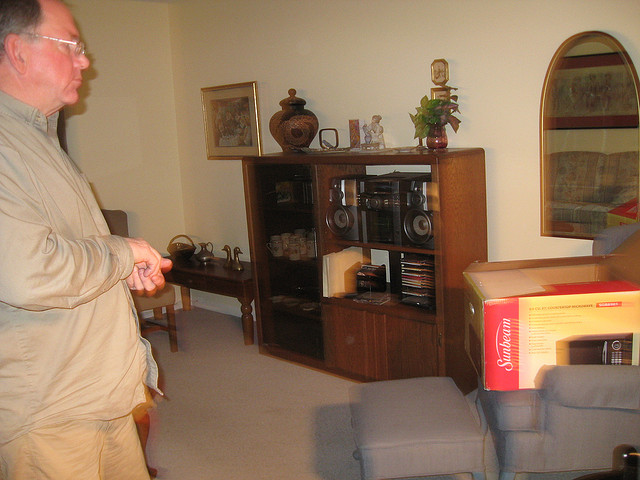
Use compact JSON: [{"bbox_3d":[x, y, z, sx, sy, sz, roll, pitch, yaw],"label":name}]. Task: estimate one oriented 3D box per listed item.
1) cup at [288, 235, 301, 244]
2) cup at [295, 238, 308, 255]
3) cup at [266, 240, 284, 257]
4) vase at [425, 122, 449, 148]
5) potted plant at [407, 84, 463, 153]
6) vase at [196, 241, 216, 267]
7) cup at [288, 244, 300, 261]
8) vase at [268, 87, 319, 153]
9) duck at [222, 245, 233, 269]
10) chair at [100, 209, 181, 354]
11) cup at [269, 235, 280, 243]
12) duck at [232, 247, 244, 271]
[{"bbox_3d":[-0.197,-0.008,3.820,0.065,0.045,0.064,1,1,0],"label":"cup"},{"bbox_3d":[-0.129,0.044,3.835,0.107,0.111,0.105,-1,13,0],"label":"cup"},{"bbox_3d":[-0.336,0.057,3.911,0.143,0.130,0.085,-1,13,5],"label":"cup"},{"bbox_3d":[0.755,-0.662,3.179,0.154,0.158,0.150,-17,21,-37],"label":"vase"},{"bbox_3d":[0.720,-0.750,3.148,0.355,0.367,0.337,1,18,35],"label":"potted plant"},{"bbox_3d":[-1.045,0.137,4.791,0.195,0.247,0.267,-3,4,-41],"label":"vase"},{"bbox_3d":[-0.193,0.084,3.826,0.114,0.107,0.090,-3,9,-9],"label":"cup"},{"bbox_3d":[-0.200,-0.886,3.876,0.351,0.432,0.188,-2,8,-6],"label":"vase"},{"bbox_3d":[-0.839,0.140,4.608,0.083,0.198,0.354,-3,7,-11],"label":"duck"},{"bbox_3d":[-1.539,0.362,4.531,0.852,1.210,0.766,11,-11,-40],"label":"chair"},{"bbox_3d":[-0.347,-0.015,3.899,0.062,0.043,0.061,1,0,0],"label":"cup"},{"bbox_3d":[-0.718,0.154,4.530,0.098,0.189,0.270,-2,7,-2],"label":"duck"}]
